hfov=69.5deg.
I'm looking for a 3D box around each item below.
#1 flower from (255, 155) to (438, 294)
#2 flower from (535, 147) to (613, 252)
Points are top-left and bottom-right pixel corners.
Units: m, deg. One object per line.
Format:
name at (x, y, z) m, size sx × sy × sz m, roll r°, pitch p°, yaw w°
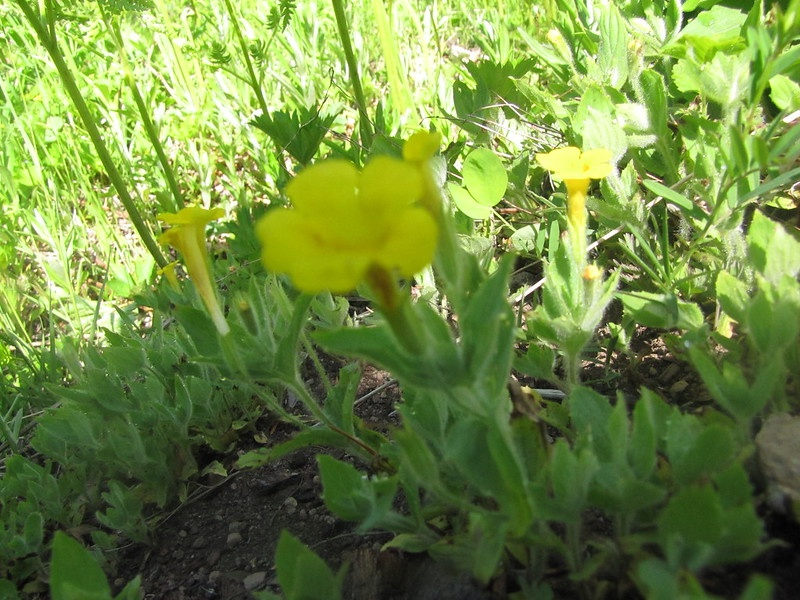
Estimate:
flower at (-0.070, -0.136, 0.934) m, size 0.291 × 0.110 × 0.283 m, roll -15°, pitch -4°, yaw 37°
flower at (0.449, -0.253, 1.391) m, size 0.167 × 0.218 × 0.194 m, roll -15°, pitch 24°, yaw 14°
